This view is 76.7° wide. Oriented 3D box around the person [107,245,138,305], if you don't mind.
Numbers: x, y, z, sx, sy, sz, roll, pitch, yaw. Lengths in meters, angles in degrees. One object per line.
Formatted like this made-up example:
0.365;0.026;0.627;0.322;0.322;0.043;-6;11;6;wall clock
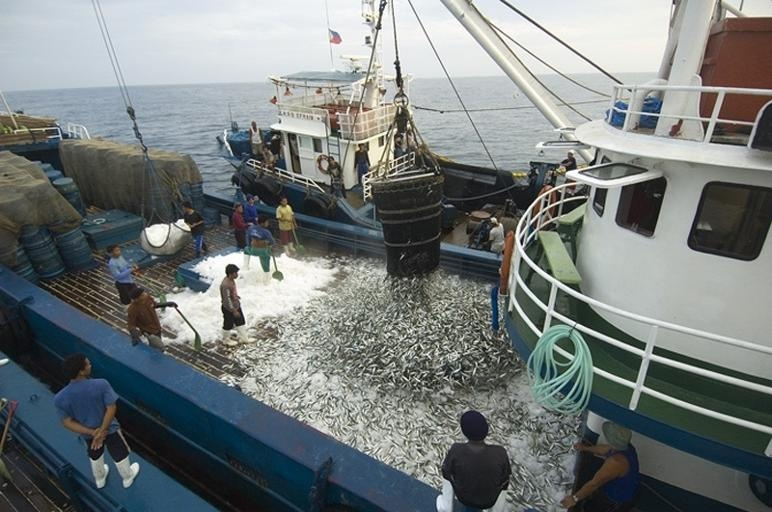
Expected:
-6.119;0.499;11.331;0.473;1.396;0.505;7;60;-19;person

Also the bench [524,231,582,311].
2.785;0.296;8.127;0.412;0.596;1.311;1;38;7;bench

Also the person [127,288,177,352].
-4.756;1.355;9.929;0.843;1.458;0.574;18;37;23;person

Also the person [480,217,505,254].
2.752;-0.558;12.648;0.637;0.940;0.698;-15;24;-13;person

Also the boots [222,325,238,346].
-3.226;1.694;10.472;0.464;0.447;0.253;2;27;-12;boots

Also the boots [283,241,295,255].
-2.752;-0.227;13.834;0.235;0.321;0.186;4;56;2;boots

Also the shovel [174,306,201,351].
-4.344;1.630;10.683;0.555;0.914;0.180;-31;19;19;shovel

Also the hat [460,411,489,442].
1.113;2.181;6.241;0.319;0.475;0.226;0;27;8;hat

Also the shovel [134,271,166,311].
-5.353;0.819;11.100;0.416;1.064;0.388;24;65;-2;shovel
